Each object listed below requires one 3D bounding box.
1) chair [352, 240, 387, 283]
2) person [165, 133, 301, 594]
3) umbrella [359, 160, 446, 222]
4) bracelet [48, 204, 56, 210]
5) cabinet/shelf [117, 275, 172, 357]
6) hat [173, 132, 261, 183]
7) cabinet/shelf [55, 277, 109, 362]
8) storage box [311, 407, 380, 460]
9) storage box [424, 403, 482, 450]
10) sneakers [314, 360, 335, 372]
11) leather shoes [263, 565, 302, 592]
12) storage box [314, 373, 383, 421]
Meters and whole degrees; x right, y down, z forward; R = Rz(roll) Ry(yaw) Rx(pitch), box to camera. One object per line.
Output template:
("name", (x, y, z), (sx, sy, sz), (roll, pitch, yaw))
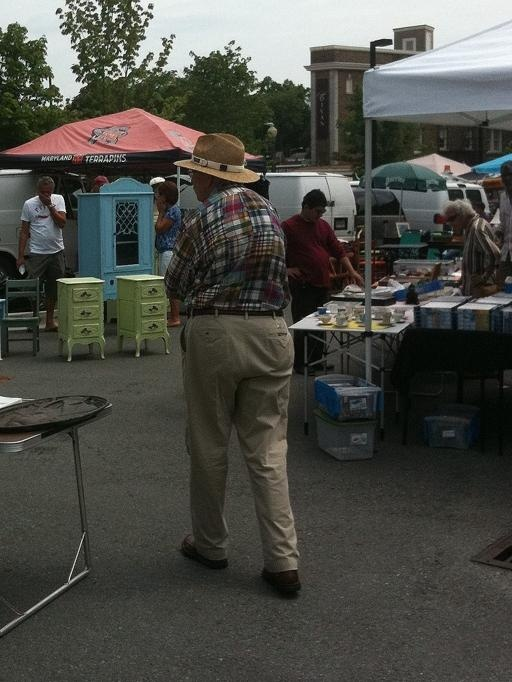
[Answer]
("chair", (2.271, -1.809, 14.567), (0.729, 0.617, 1.120), (-4, -5, 21))
("person", (-0.100, 0.226, 3.075), (0.644, 1.770, 0.376), (2, 10, 14))
("umbrella", (3.784, -3.760, 18.022), (2.172, 1.712, 2.068), (-4, 15, -16))
("bracelet", (-3.069, -2.006, 10.450), (0.024, 0.087, 0.092), (-14, -6, 33))
("cabinet/shelf", (-1.536, -0.358, 9.501), (0.696, 0.975, 0.672), (-3, 9, -20))
("hat", (-0.160, -0.841, 3.172), (0.422, 0.171, 0.406), (23, 22, 27))
("cabinet/shelf", (-2.273, -0.267, 9.029), (0.580, 1.039, 0.414), (-3, 10, -16))
("storage box", (0.647, 0.707, 5.191), (0.289, 0.201, 0.409), (-1, 3, -22))
("storage box", (1.552, 0.667, 5.564), (0.413, 0.233, 0.489), (1, 9, 18))
("sneakers", (0.734, 0.288, 7.644), (0.239, 0.100, 0.317), (0, -1, 4))
("leather shoes", (0.114, 1.033, 3.048), (0.077, 0.075, 0.187), (-2, 7, -25))
("storage box", (0.709, 0.436, 5.234), (0.500, 0.261, 0.535), (-1, 10, -3))
